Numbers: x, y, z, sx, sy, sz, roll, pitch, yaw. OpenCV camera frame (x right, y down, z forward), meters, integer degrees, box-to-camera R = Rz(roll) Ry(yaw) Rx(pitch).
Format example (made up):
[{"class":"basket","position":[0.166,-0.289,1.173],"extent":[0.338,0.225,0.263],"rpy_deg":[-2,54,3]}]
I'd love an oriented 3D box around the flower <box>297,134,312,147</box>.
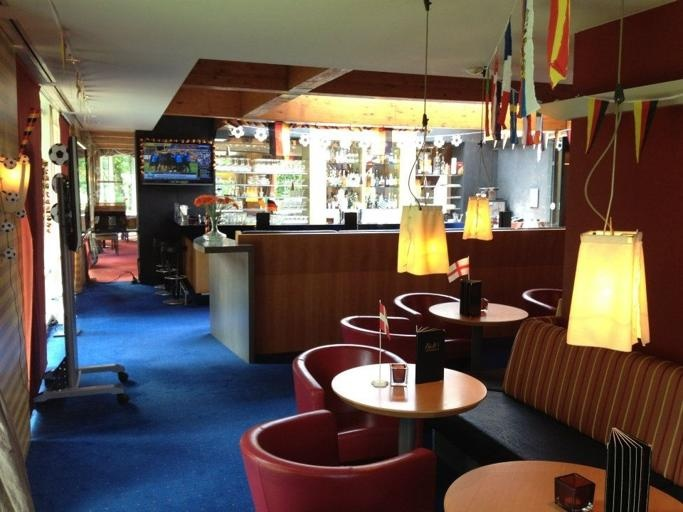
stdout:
[{"class":"flower","position":[-0.720,-2.255,10.344],"extent":[0.240,0.259,0.101],"rpy_deg":[-1,8,-11]}]

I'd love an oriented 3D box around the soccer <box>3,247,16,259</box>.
[{"class":"soccer","position":[-2.459,-0.018,3.912],"extent":[0.058,0.091,0.171],"rpy_deg":[-4,10,-27]}]

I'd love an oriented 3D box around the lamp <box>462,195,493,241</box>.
[{"class":"lamp","position":[1.357,-0.374,5.294],"extent":[0.292,0.451,0.343],"rpy_deg":[1,9,4]}]

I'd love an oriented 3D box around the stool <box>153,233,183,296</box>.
[{"class":"stool","position":[-3.337,0.137,10.190],"extent":[0.375,0.735,1.128],"rpy_deg":[0,2,-22]}]

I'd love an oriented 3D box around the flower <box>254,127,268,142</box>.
[{"class":"flower","position":[-1.521,-2.292,9.946],"extent":[0.216,0.066,0.219],"rpy_deg":[-19,-23,40]}]

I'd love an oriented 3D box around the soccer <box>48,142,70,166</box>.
[{"class":"soccer","position":[-2.419,-0.870,4.520],"extent":[0.132,0.176,0.318],"rpy_deg":[-5,10,-31]}]

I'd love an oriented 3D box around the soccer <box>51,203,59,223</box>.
[{"class":"soccer","position":[-2.529,-0.382,4.664],"extent":[0.057,0.158,0.184],"rpy_deg":[-4,10,-29]}]

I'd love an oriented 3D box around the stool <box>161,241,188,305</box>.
[{"class":"stool","position":[-3.112,0.234,9.860],"extent":[0.444,0.958,1.897],"rpy_deg":[-3,9,-19]}]

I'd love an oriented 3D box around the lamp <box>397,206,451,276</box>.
[{"class":"lamp","position":[0.555,-0.098,3.676],"extent":[0.426,0.601,0.411],"rpy_deg":[1,2,-3]}]

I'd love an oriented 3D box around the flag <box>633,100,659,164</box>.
[{"class":"flag","position":[1.951,-0.797,3.373],"extent":[0.010,0.403,0.144],"rpy_deg":[-12,19,-16]}]

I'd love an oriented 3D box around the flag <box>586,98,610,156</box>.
[{"class":"flag","position":[1.617,-0.807,3.351],"extent":[0.014,0.367,0.118],"rpy_deg":[-7,28,-24]}]

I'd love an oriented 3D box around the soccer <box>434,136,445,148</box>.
[{"class":"soccer","position":[2.054,-2.421,11.153],"extent":[0.190,0.216,0.451],"rpy_deg":[2,9,8]}]

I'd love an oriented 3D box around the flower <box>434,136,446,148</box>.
[{"class":"flower","position":[2.074,-2.430,11.117],"extent":[0.287,0.293,0.071],"rpy_deg":[3,-10,41]}]

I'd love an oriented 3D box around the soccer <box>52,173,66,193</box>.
[{"class":"soccer","position":[-2.457,-0.625,4.603],"extent":[0.111,0.158,0.305],"rpy_deg":[-4,10,-28]}]

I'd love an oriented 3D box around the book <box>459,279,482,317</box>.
[{"class":"book","position":[1.178,0.392,4.810],"extent":[0.191,0.300,0.231],"rpy_deg":[3,9,14]}]

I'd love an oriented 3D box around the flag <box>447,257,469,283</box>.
[{"class":"flag","position":[1.145,0.131,5.213],"extent":[0.281,0.334,0.024],"rpy_deg":[4,10,7]}]

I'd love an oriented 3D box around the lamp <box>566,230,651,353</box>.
[{"class":"lamp","position":[1.178,0.141,2.305],"extent":[0.297,0.496,0.238],"rpy_deg":[6,10,33]}]

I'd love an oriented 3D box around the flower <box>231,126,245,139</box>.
[{"class":"flower","position":[-1.899,-2.271,9.715],"extent":[0.249,0.082,0.257],"rpy_deg":[4,0,3]}]

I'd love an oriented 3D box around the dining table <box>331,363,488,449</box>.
[{"class":"dining table","position":[0.411,0.844,3.340],"extent":[0.688,0.543,0.716],"rpy_deg":[0,5,-2]}]
